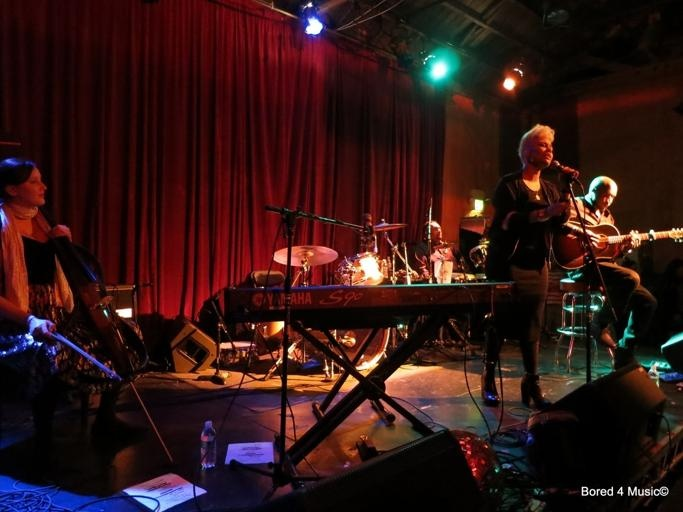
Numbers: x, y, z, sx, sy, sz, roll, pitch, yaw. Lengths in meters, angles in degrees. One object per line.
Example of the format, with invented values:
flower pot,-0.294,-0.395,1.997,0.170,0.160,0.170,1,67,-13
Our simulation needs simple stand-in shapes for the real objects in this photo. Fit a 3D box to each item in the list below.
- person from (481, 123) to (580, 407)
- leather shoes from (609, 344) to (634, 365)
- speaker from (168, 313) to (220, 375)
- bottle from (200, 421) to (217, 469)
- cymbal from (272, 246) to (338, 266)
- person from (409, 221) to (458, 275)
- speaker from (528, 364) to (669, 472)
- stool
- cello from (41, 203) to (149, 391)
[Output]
person,1.471,0.081,4.615,0.680,2.302,0.684,-1,-3,14
leather shoes,2.672,0.958,5.433,0.169,0.213,0.387,-1,-4,25
speaker,-1.604,0.876,6.034,0.464,0.520,0.558,-21,8,-24
bottle,-0.931,1.284,3.982,0.104,0.299,0.310,1,-3,-14
cymbal,-0.309,-0.014,5.575,0.324,0.072,0.335,5,-26,-21
person,1.205,-0.079,7.503,0.632,0.793,1.387,0,-3,7
speaker,1.600,1.062,3.594,0.896,0.643,0.611,2,-2,-38
stool,2.670,0.750,6.416,0.506,0.895,0.545,-5,-1,9
cello,-1.851,0.231,4.073,0.334,1.338,0.694,-27,-10,7
